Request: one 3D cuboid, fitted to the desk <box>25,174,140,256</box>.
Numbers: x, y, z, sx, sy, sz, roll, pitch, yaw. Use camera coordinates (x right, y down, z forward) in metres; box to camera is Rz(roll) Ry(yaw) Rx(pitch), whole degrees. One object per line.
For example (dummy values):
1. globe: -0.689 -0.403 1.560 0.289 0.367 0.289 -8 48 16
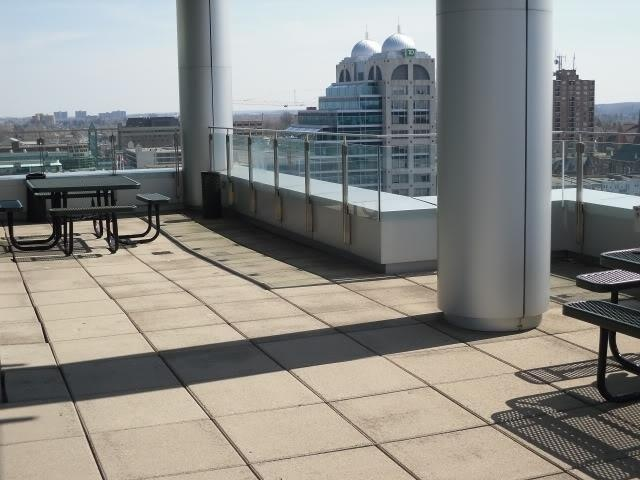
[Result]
1. desk: -4.268 -0.738 9.385 2.086 1.309 1.945 -3 7 -25
